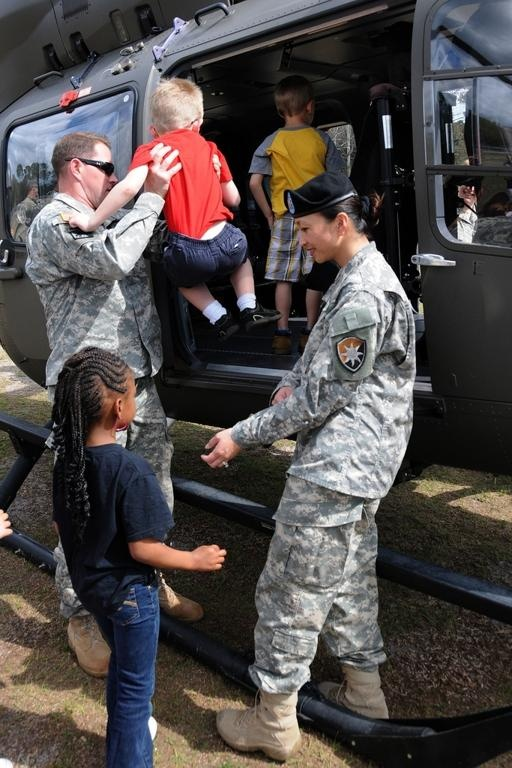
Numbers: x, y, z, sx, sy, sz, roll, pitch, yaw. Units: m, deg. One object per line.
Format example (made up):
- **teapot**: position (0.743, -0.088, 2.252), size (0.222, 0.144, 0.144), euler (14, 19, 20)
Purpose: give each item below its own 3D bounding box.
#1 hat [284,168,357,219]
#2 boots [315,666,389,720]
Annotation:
- **hat**: position (0.158, -0.429, 1.273), size (0.140, 0.072, 0.102), euler (-27, 28, -6)
- **boots**: position (0.280, 0.883, 1.599), size (0.216, 0.151, 0.077), euler (-4, 11, 34)
